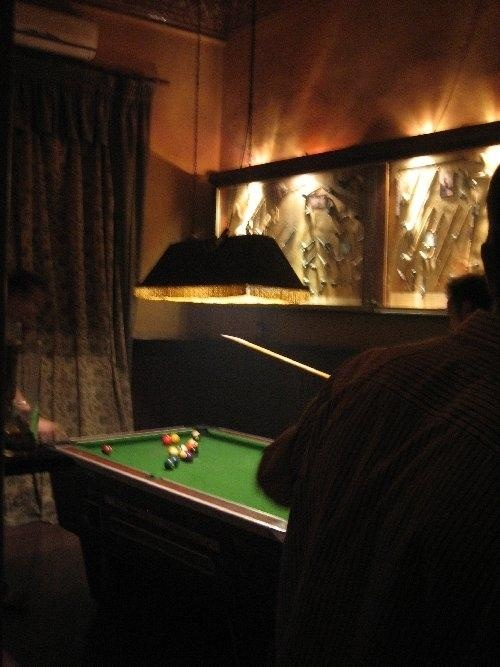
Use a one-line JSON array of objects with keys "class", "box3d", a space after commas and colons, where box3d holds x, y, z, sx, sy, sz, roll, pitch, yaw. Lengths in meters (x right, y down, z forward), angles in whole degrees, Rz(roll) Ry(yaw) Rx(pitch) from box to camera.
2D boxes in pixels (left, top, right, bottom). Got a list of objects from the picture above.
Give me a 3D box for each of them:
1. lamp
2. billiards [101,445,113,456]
[{"class": "lamp", "box3d": [-0.100, -0.498, 1.911, 0.611, 0.860, 0.372, -1, -9, 0]}, {"class": "billiards", "box3d": [-0.508, 0.419, 1.965, 0.025, 0.032, 0.035, -12, 13, -17]}]
